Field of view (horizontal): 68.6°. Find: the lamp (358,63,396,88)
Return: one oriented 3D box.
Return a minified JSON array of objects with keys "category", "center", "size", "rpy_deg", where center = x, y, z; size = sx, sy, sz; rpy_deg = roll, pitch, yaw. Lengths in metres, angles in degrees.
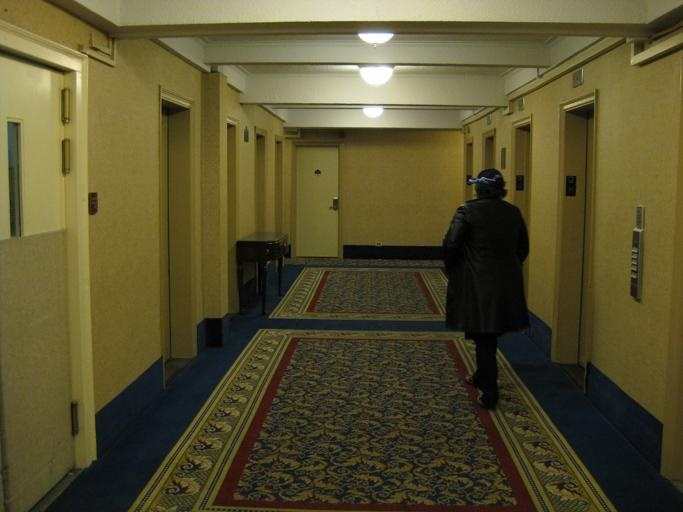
[{"category":"lamp","center":[0.415,-2.142,5.891],"size":[0.389,0.257,0.406],"rpy_deg":[-3,17,-7]}]

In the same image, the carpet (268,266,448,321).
[{"category":"carpet","center":[0.517,0.614,9.260],"size":[2.982,0.043,4.119],"rpy_deg":[1,9,4]}]

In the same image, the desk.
[{"category":"desk","center":[-1.296,0.307,8.081],"size":[0.441,0.759,1.202],"rpy_deg":[0,7,0]}]
